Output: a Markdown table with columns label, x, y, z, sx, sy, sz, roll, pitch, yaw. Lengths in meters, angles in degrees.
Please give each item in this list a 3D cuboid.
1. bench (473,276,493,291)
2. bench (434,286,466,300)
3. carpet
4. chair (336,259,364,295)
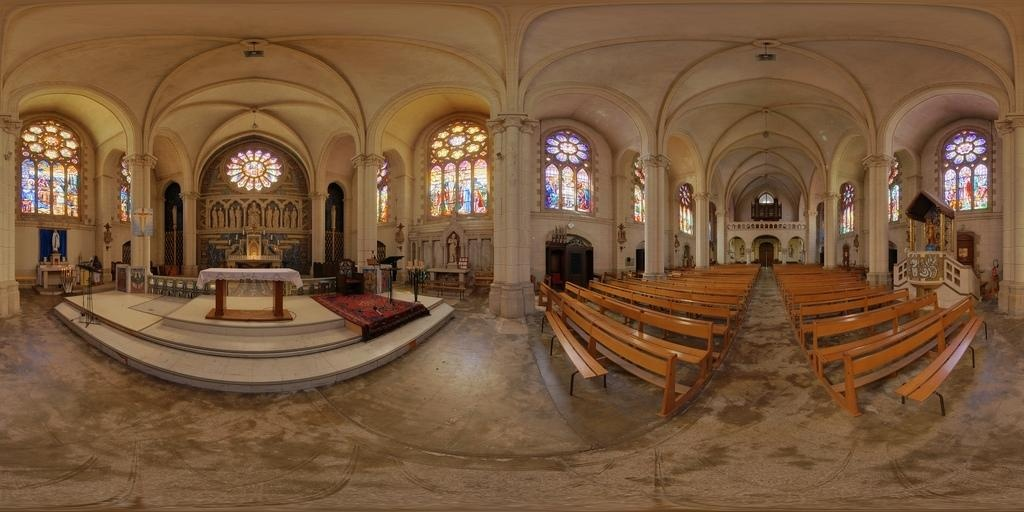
| label | x | y | z | sx | sy | sz | roll | pitch | yaw |
| --- | --- | --- | --- | --- | --- | --- | --- | --- | --- |
| bench | -1.577 | 1.403 | 33.463 | 1.328 | 0.646 | 0.822 | 0 | -1 | 6 |
| bench | -3.039 | 1.818 | 31.431 | 1.883 | 0.558 | 1.018 | -1 | -2 | 41 |
| carpet | -6.352 | 2.258 | 28.167 | 3.114 | 0.555 | 5.016 | -20 | 22 | -35 |
| chair | -7.663 | 0.977 | 29.963 | 1.346 | 1.369 | 1.178 | 5 | 12 | -10 |
